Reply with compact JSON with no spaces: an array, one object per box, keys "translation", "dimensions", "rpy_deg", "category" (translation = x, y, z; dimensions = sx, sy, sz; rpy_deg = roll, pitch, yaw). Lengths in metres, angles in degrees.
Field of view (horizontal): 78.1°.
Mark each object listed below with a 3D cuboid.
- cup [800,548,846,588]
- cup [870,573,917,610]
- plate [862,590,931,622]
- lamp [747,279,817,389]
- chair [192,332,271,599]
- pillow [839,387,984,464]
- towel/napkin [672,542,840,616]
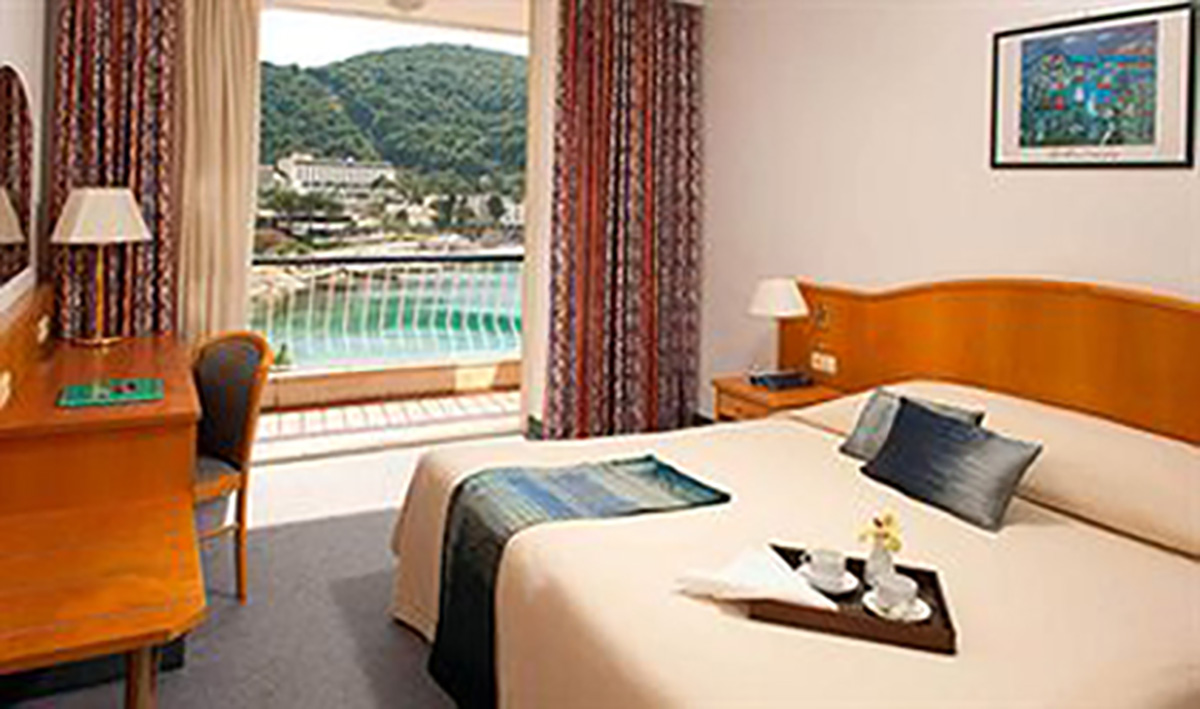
[{"translation":[0.926,0.872,3.075],"dimensions":[0.124,0.114,0.162],"rpy_deg":[-5,5,-39],"category":"cup"},{"translation":[1.174,0.935,2.971],"dimensions":[0.112,0.097,0.146],"rpy_deg":[-5,6,-41],"category":"cup"},{"translation":[1.182,1.000,2.934],"dimensions":[0.266,0.063,0.126],"rpy_deg":[3,14,10],"category":"plate"},{"translation":[1.306,-0.184,5.255],"dimensions":[0.421,0.735,0.613],"rpy_deg":[8,15,27],"category":"lamp"},{"translation":[-2.054,0.466,4.171],"dimensions":[0.425,1.097,0.656],"rpy_deg":[-6,15,-24],"category":"chair"},{"translation":[1.734,0.457,4.147],"dimensions":[0.184,0.371,0.621],"rpy_deg":[29,0,-10],"category":"pillow"},{"translation":[0.633,0.917,3.019],"dimensions":[0.625,0.150,0.212],"rpy_deg":[5,14,20],"category":"towel/napkin"}]
